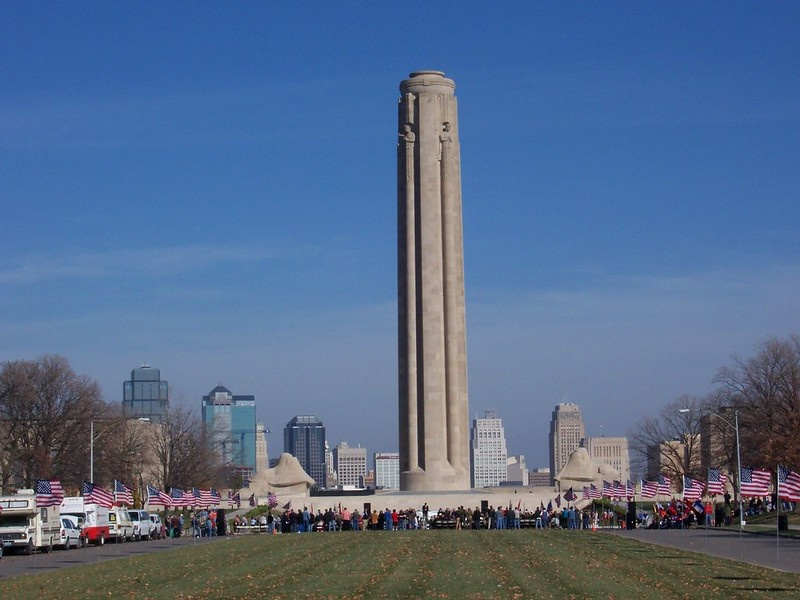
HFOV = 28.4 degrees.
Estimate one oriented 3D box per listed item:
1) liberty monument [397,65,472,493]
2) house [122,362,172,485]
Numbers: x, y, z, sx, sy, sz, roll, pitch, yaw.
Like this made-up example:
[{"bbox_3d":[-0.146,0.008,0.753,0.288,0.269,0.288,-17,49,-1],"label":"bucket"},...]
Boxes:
[{"bbox_3d":[2.534,-1.594,129.367,4.926,33.926,6.331,2,-14,-28],"label":"liberty monument"},{"bbox_3d":[-27.452,14.552,174.003,5.503,15.192,3.846,-7,-17,-10],"label":"house"}]
